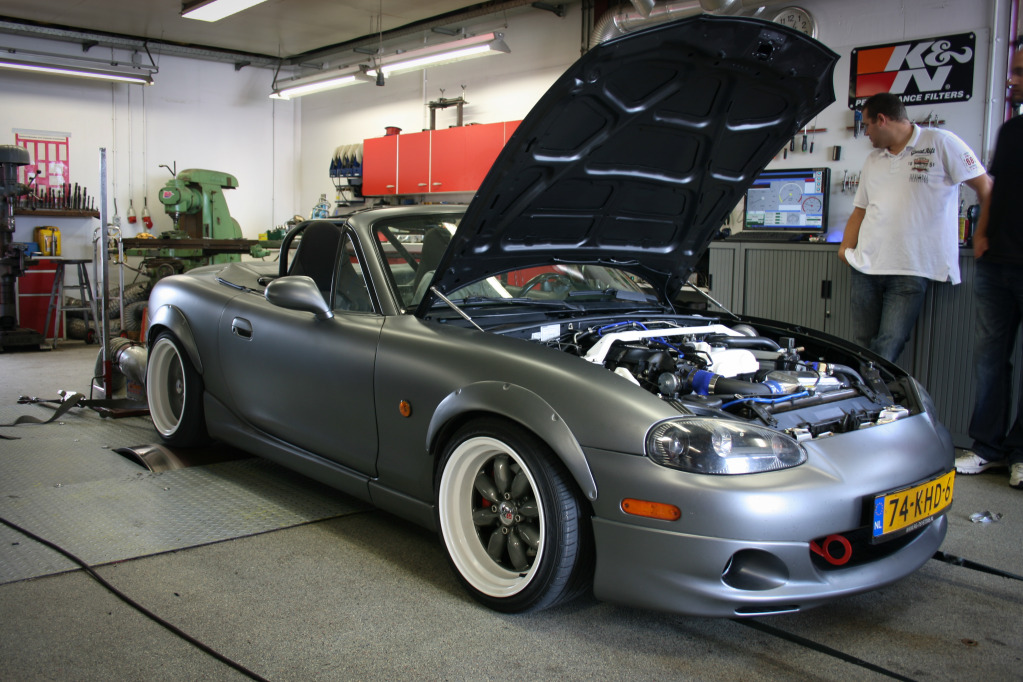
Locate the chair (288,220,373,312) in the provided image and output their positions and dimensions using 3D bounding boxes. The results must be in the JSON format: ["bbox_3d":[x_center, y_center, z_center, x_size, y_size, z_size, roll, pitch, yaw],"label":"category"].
[{"bbox_3d":[-0.918,-0.371,3.263,0.272,0.415,0.442,5,29,-9],"label":"chair"}]

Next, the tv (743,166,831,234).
[{"bbox_3d":[2.887,-1.450,6.640,1.013,0.778,0.141,5,3,24],"label":"tv"}]

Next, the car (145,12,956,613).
[{"bbox_3d":[-0.150,-0.213,3.502,2.226,1.999,3.981,-4,8,-43],"label":"car"}]
